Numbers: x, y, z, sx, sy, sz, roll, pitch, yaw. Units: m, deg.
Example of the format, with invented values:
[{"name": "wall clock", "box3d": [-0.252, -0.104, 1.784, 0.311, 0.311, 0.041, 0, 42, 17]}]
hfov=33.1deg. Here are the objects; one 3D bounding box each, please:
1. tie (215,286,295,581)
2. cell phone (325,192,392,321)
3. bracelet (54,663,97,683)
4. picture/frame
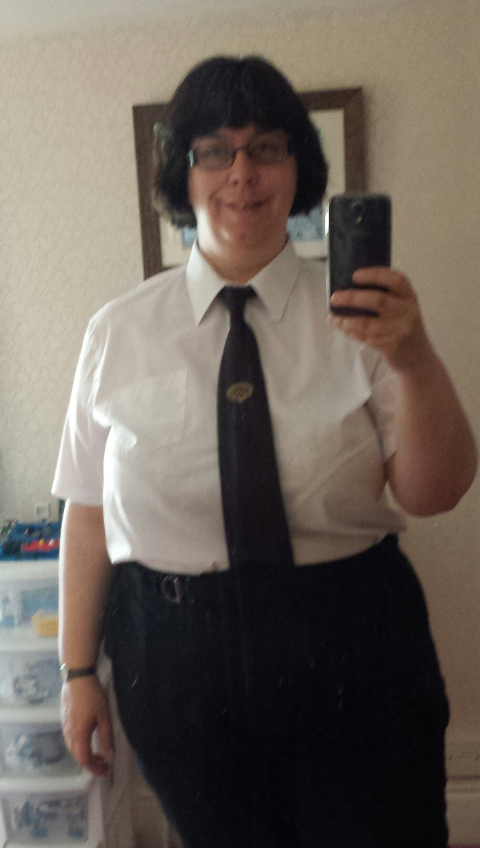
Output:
[{"name": "tie", "box3d": [0.010, 0.030, 0.985, 0.076, 0.294, 0.084, -6, 7, -10]}, {"name": "cell phone", "box3d": [0.116, -0.182, 0.830, 0.081, 0.123, 0.079, 1, 27, 11]}, {"name": "bracelet", "box3d": [-0.221, 0.341, 1.103, 0.033, 0.014, 0.033, 3, -10, -26]}, {"name": "picture/frame", "box3d": [0.007, -0.258, 0.894, 0.307, 0.303, 0.006, -2, -31, 5]}]
